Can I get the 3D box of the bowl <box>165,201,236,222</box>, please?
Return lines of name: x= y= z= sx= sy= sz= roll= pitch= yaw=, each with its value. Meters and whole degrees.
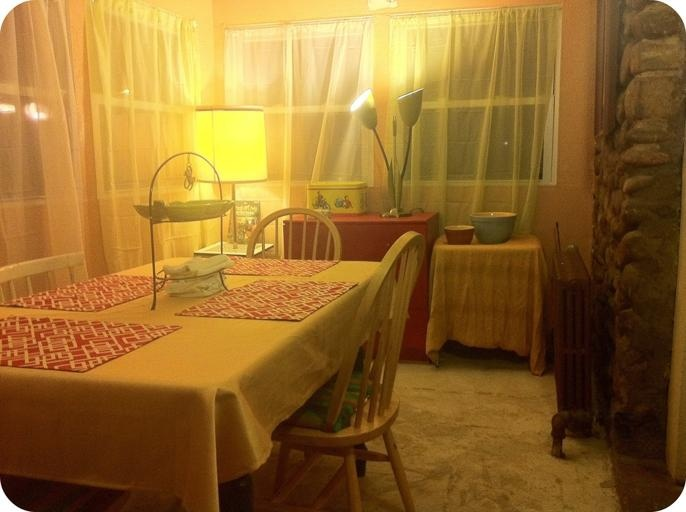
bowl: x=-0.536 y=-0.173 z=2.029 sx=0.214 sy=0.071 sz=0.236 roll=1 pitch=13 yaw=7

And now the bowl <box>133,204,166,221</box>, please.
bowl: x=-0.721 y=-0.167 z=1.982 sx=0.107 sy=0.061 sz=0.180 roll=-5 pitch=13 yaw=-19

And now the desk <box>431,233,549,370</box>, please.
desk: x=1.010 y=0.271 z=3.808 sx=0.814 sy=0.779 sz=0.817 roll=3 pitch=6 yaw=18

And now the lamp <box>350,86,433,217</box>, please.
lamp: x=0.332 y=-0.790 z=3.930 sx=0.508 sy=0.914 sz=0.567 roll=3 pitch=14 yaw=13
